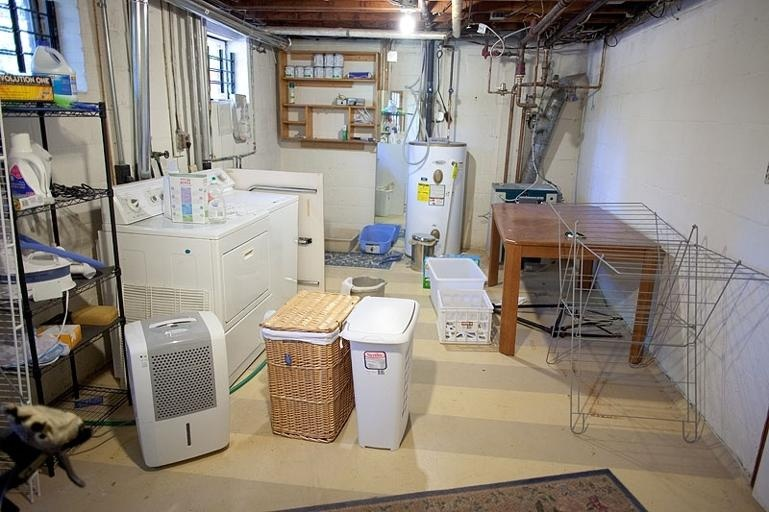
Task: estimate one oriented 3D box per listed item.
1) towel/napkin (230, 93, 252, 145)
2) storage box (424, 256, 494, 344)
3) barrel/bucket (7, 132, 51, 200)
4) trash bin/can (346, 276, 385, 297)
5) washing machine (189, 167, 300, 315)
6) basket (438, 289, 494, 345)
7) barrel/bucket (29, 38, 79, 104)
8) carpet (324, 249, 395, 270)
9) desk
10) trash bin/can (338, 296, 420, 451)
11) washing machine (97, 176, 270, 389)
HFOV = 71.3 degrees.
[{"bbox_3d":[-1.783,-1.691,6.636,0.163,0.505,0.386,2,8,2],"label":"towel/napkin"},{"bbox_3d":[0.751,0.435,5.462,0.516,0.338,0.960,-1,13,3],"label":"storage box"},{"bbox_3d":[-2.370,-0.598,3.582,0.240,0.415,0.330,-9,19,-30],"label":"barrel/bucket"},{"bbox_3d":[-0.188,0.302,5.106,0.338,0.186,0.419,4,16,11],"label":"trash bin/can"},{"bbox_3d":[-1.463,-0.023,5.181,0.945,1.474,0.868,-24,41,-37],"label":"washing machine"},{"bbox_3d":[0.766,0.584,5.222,0.546,0.313,0.527,1,13,8],"label":"basket"},{"bbox_3d":[-2.283,-1.304,3.818,0.286,0.399,0.287,4,40,-3],"label":"barrel/bucket"},{"bbox_3d":[-0.302,0.037,7.239,1.025,0.077,0.646,0,15,-3],"label":"carpet"},{"bbox_3d":[1.687,0.588,5.447,1.483,1.058,2.054,2,20,2],"label":"desk"},{"bbox_3d":[-0.043,0.860,3.984,0.505,0.986,0.484,3,17,8],"label":"trash bin/can"},{"bbox_3d":[-1.682,0.105,4.754,0.974,1.503,1.171,8,20,10],"label":"washing machine"}]
